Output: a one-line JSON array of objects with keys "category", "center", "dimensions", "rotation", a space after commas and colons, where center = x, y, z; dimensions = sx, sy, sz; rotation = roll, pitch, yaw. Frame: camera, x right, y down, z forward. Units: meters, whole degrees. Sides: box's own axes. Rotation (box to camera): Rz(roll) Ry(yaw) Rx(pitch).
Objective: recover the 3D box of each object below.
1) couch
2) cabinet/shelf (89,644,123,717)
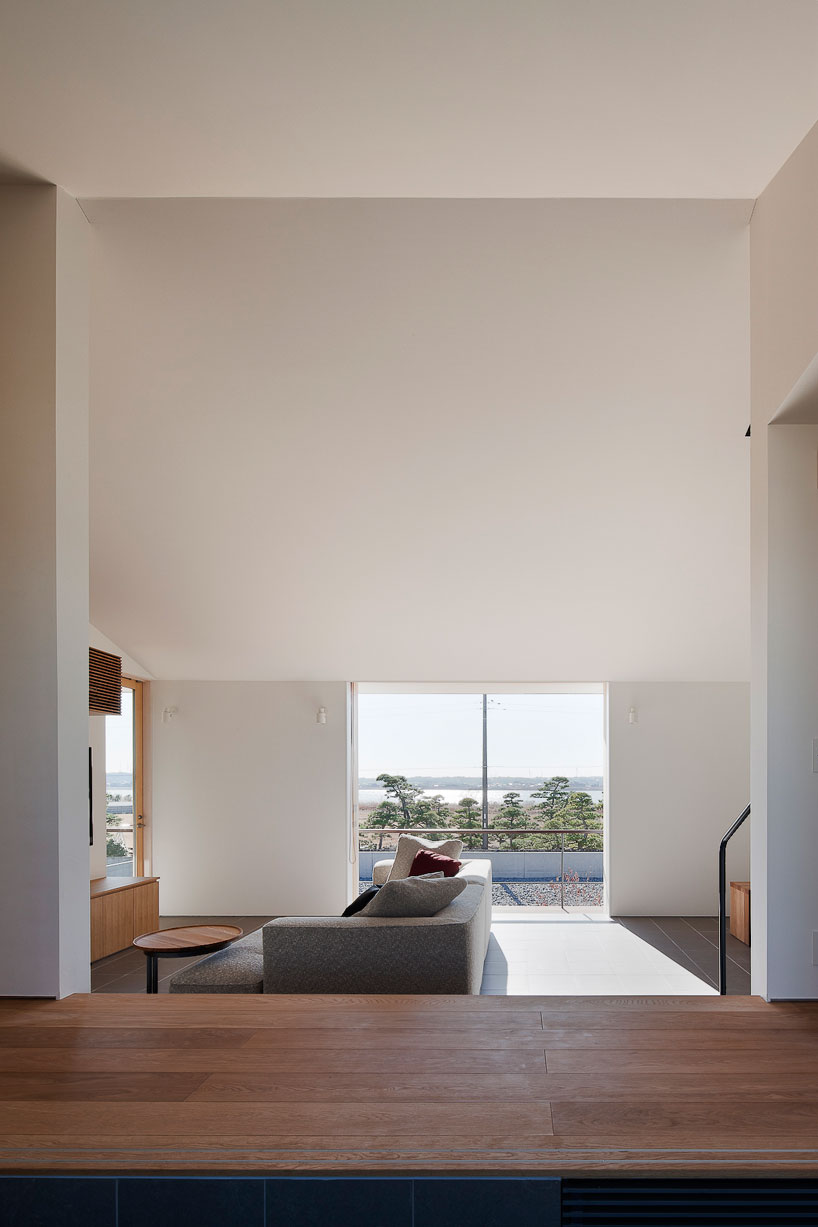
[{"category": "couch", "center": [-0.318, 1.383, 4.021], "dimensions": [1.169, 0.472, 0.914], "rotation": [1, -1, 13]}, {"category": "cabinet/shelf", "center": [-2.111, 0.499, 6.878], "dimensions": [0.163, 0.471, 0.610], "rotation": [1, -1, -12]}]
